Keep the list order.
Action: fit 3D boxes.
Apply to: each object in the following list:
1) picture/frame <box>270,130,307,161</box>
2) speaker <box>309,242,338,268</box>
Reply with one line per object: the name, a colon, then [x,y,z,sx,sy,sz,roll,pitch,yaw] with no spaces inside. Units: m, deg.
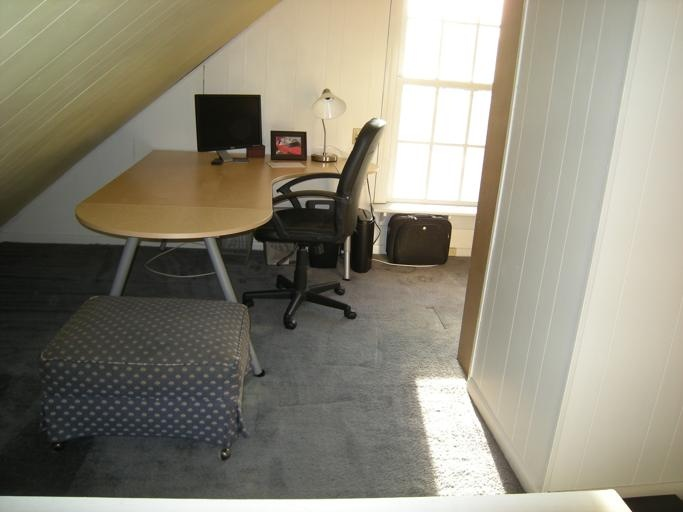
picture/frame: [-0.389,-0.795,3.787,0.225,0.198,0.017,-1,1,-12]
speaker: [-0.122,0.002,3.785,0.194,0.247,0.171,-2,12,-6]
